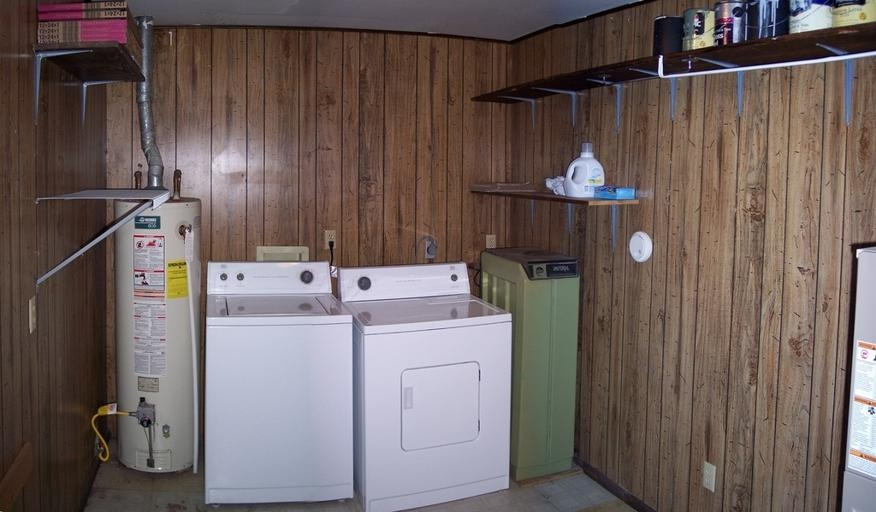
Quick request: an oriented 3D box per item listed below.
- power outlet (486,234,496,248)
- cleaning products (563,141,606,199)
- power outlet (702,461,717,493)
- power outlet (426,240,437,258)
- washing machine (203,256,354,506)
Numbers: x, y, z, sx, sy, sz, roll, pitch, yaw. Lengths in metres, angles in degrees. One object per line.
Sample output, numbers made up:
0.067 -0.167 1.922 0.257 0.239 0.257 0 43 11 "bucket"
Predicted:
0.429 -0.125 5.640 0.120 0.143 0.016 0 5 -15 "power outlet"
1.009 -0.577 4.577 0.307 0.379 0.218 -6 16 -12 "cleaning products"
1.664 1.346 4.176 0.023 0.173 0.089 -8 10 -35 "power outlet"
-0.061 -0.060 5.506 0.100 0.159 0.045 -4 8 -10 "power outlet"
-1.016 0.821 4.793 0.974 1.478 1.267 -1 4 -18 "washing machine"
